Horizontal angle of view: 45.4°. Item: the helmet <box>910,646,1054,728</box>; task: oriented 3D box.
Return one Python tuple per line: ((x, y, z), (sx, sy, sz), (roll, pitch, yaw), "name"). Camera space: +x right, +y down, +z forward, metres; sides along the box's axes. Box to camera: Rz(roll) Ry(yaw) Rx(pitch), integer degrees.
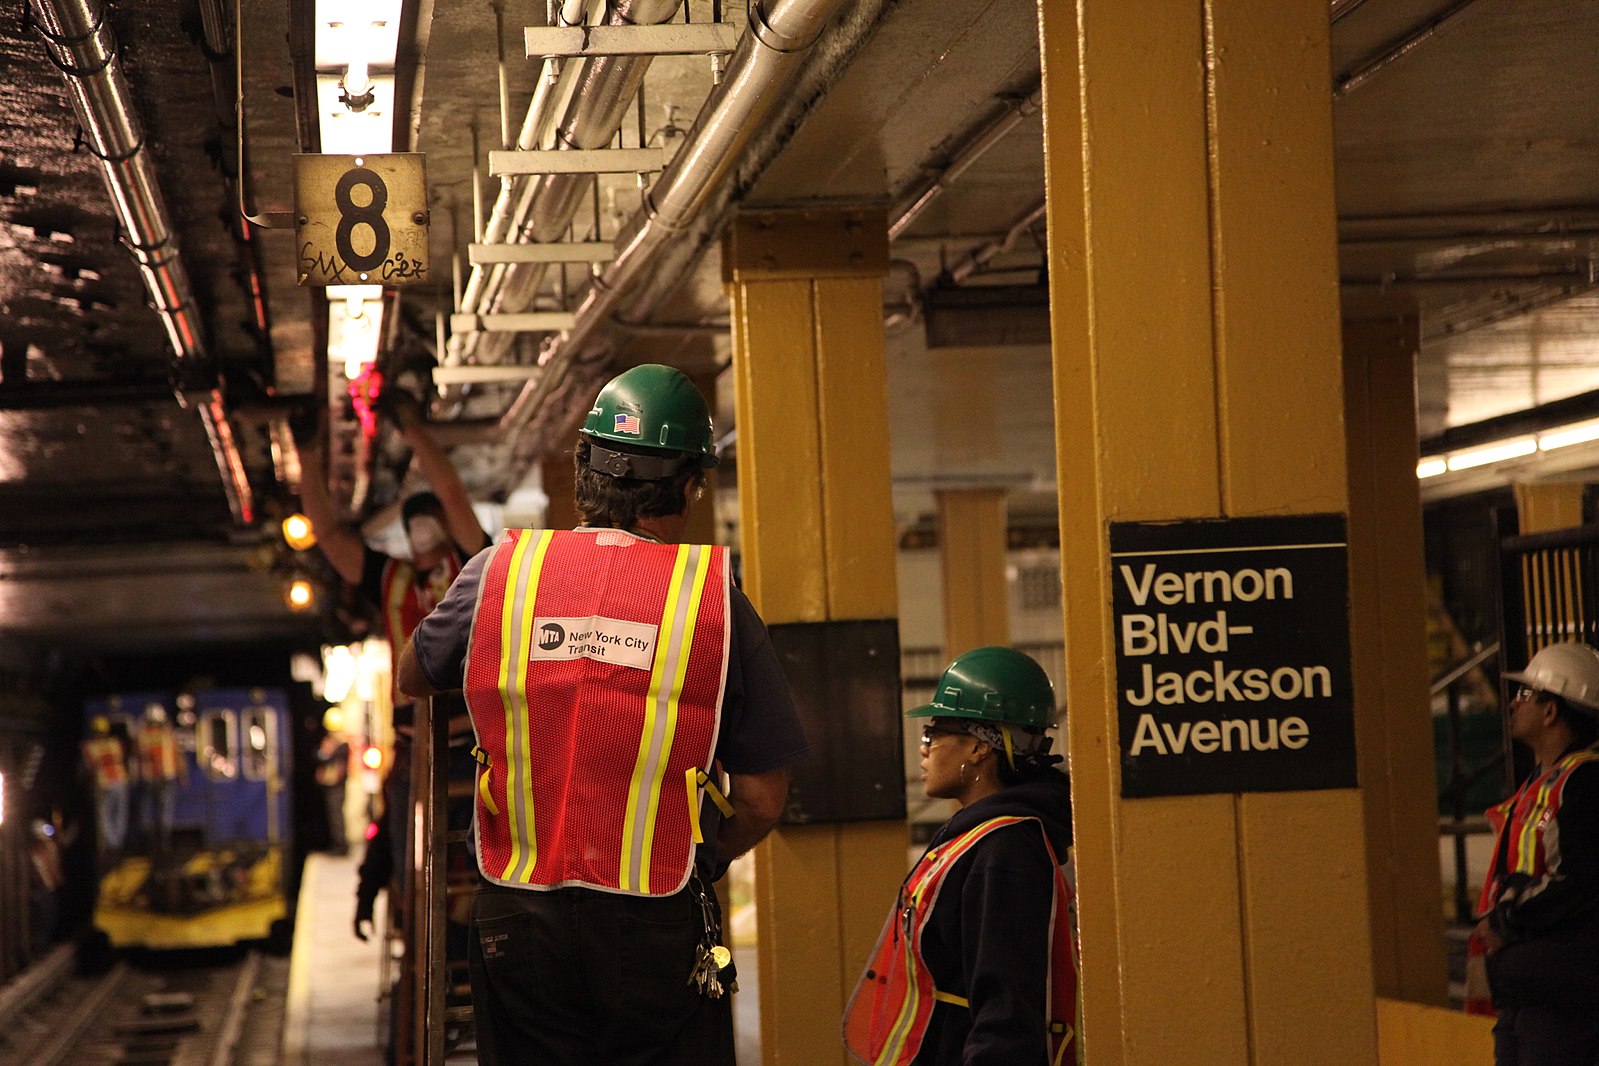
((0.870, 0.707, 8.683), (0.442, 0.265, 0.366), (9, -3, 1), "helmet")
